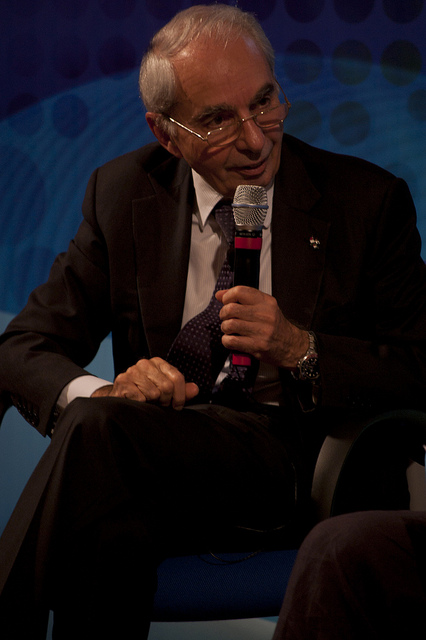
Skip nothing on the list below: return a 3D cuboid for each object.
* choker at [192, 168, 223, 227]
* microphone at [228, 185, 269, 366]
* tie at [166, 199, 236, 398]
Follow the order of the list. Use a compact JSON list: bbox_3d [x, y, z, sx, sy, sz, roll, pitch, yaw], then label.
[{"bbox_3d":[-0.016,-0.323,1.397,0.061,0.127,0.075,-1,25,-6],"label":"choker"},{"bbox_3d":[0.065,-0.087,0.965,0.072,0.299,0.070,1,5,-2],"label":"microphone"},{"bbox_3d":[-0.026,-0.032,1.239,0.119,0.506,0.079,6,10,-2],"label":"tie"}]
